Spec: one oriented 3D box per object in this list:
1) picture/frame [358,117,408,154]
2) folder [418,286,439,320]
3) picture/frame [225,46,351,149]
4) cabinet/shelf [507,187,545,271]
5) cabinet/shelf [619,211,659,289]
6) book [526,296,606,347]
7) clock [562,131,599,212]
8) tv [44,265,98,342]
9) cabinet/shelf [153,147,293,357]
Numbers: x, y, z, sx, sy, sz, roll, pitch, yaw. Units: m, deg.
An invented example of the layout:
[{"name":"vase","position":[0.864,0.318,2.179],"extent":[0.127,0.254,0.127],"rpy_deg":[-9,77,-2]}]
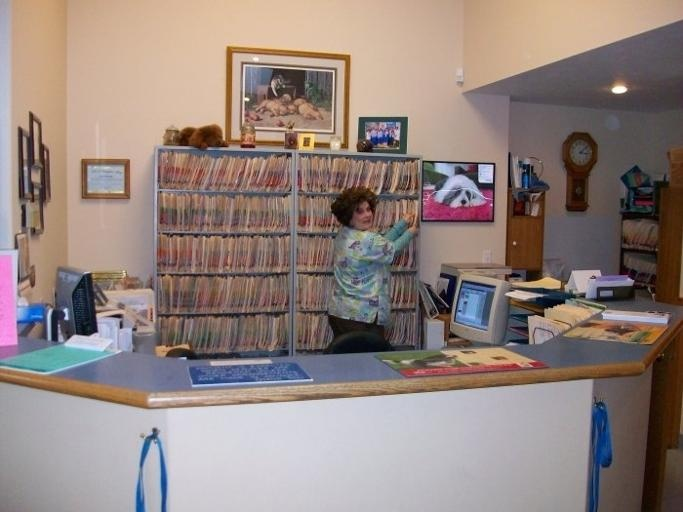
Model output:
[{"name":"picture/frame","position":[0.354,-1.112,5.127],"extent":[0.401,0.299,0.014],"rpy_deg":[-1,1,-6]},{"name":"folder","position":[0.745,0.391,4.870],"extent":[0.062,0.272,0.196],"rpy_deg":[-15,-4,-1]},{"name":"picture/frame","position":[-0.529,-1.423,4.983],"extent":[0.973,0.752,0.043],"rpy_deg":[1,3,-10]},{"name":"cabinet/shelf","position":[1.813,-0.264,5.534],"extent":[0.373,0.773,0.196],"rpy_deg":[1,12,0]},{"name":"cabinet/shelf","position":[3.277,-0.084,6.039],"extent":[0.224,0.743,0.428],"rpy_deg":[-3,6,-15]},{"name":"book","position":[1.335,0.326,3.345],"extent":[0.336,0.130,0.342],"rpy_deg":[-7,-1,-22]},{"name":"clock","position":[2.588,-0.910,6.111],"extent":[0.412,0.857,0.155],"rpy_deg":[-4,12,-21]},{"name":"tv","position":[-1.391,0.252,2.868],"extent":[0.115,0.343,0.328],"rpy_deg":[-7,12,-43]},{"name":"cabinet/shelf","position":[-1.001,-0.073,4.932],"extent":[1.240,2.231,0.650],"rpy_deg":[0,36,-12]}]
